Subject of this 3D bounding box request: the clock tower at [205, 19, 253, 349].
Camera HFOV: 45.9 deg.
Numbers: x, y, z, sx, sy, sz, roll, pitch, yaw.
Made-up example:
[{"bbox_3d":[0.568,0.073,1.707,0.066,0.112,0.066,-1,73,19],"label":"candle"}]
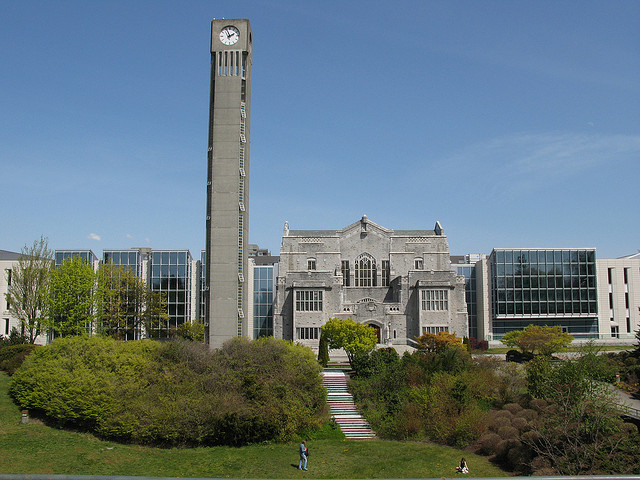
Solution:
[{"bbox_3d":[-12.960,-8.789,107.145,5.765,44.006,15.091,1,13,-6],"label":"clock tower"}]
